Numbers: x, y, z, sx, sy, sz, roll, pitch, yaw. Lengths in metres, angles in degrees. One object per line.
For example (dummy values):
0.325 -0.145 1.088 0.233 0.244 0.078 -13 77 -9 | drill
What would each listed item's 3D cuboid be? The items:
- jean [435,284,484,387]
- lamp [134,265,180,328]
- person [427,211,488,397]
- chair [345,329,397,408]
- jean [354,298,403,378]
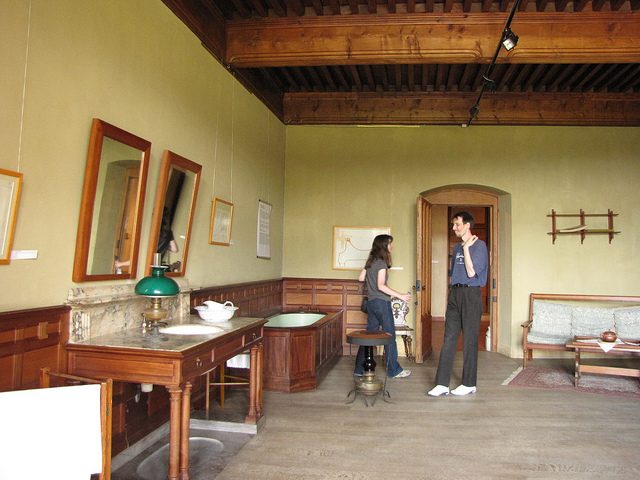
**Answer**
1.658 1.135 5.213 0.476 1.240 0.411 -2 -26 26 | jean
-1.341 0.469 3.607 0.325 0.515 0.378 1 -1 -23 | lamp
1.654 0.738 5.226 0.598 2.155 0.405 1 -1 22 | person
0.555 1.448 5.116 0.540 0.789 0.614 -2 -4 10 | chair
0.809 1.282 5.740 0.662 1.074 0.640 1 -1 -8 | jean
